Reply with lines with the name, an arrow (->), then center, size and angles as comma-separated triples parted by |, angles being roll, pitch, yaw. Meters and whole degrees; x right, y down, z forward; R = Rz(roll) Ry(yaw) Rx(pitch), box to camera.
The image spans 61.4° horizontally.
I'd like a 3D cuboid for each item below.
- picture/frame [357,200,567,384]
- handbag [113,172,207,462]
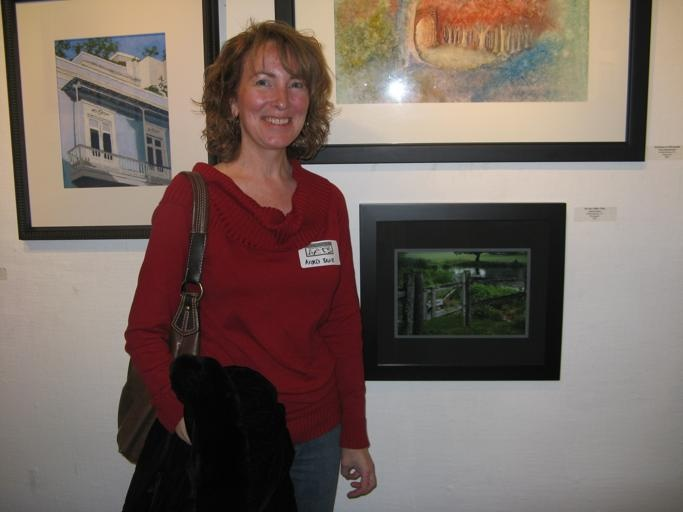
picture/frame -> 0.440, 0.121, 2.100 | 0.614, 0.597, 0.047 | 0, 6, -1
handbag -> -0.580, 0.211, 1.746 | 0.367, 0.929, 0.196 | 1, 4, 22
